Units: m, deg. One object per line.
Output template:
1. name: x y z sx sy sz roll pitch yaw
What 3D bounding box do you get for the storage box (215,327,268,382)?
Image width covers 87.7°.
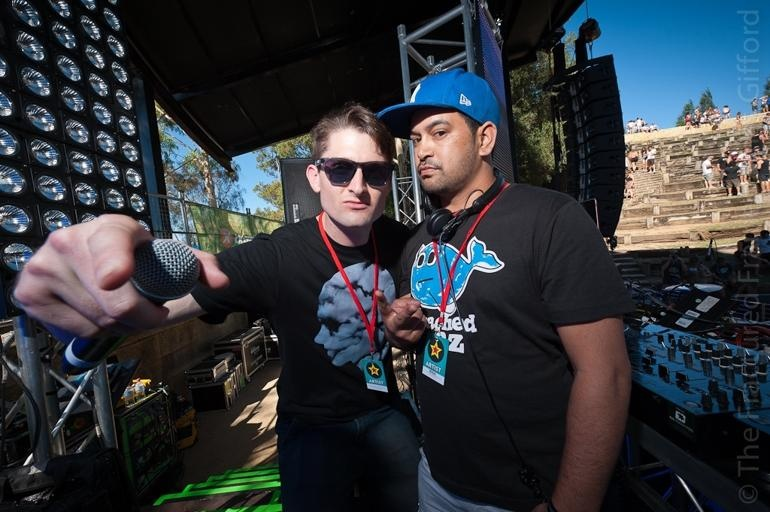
1. storage box: -3.015 1.999 8.623 0.777 0.812 1.196 -4 2 9

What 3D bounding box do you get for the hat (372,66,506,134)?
1. hat: 0.351 -0.925 2.643 0.869 0.578 0.535 8 13 21

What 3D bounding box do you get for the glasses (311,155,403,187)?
1. glasses: -0.210 -0.612 2.907 0.650 0.199 0.210 6 5 24

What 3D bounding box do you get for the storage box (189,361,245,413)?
1. storage box: -2.956 2.383 7.296 0.721 0.497 1.425 3 13 5
